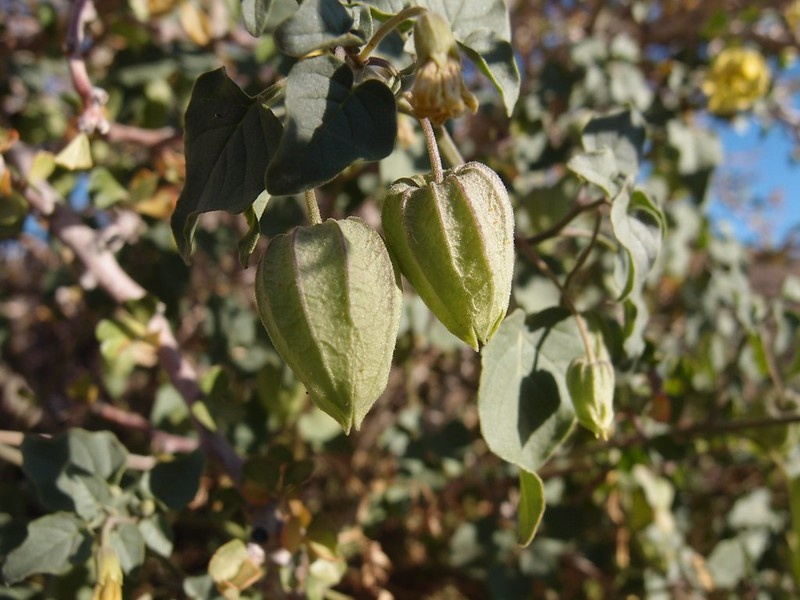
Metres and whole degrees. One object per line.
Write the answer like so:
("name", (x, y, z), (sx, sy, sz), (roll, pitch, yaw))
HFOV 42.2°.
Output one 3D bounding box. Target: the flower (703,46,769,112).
("flower", (1.012, -0.651, 3.100), (0.184, 0.188, 0.087), (28, 38, 14))
